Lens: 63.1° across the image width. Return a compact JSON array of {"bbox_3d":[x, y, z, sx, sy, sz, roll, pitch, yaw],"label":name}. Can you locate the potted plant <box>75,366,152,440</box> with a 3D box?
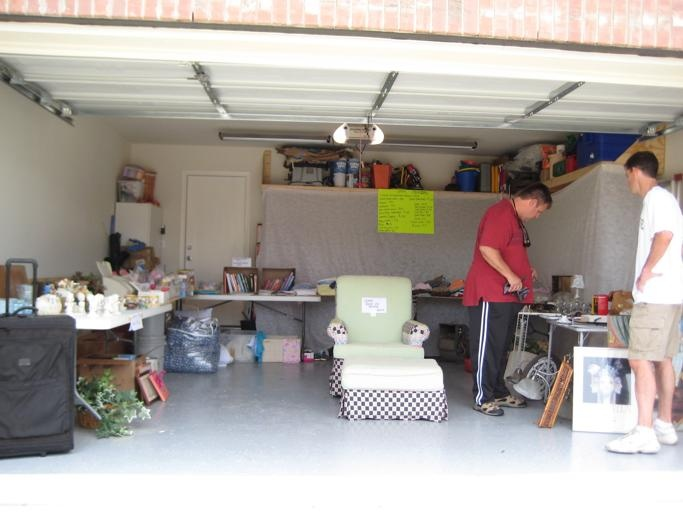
[{"bbox_3d":[-1.761,1.085,4.261,0.498,0.520,0.580,2,0,-25],"label":"potted plant"}]

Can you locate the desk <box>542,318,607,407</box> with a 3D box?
[{"bbox_3d":[2.248,0.913,5.024,0.716,0.600,0.682,1,0,-4],"label":"desk"}]

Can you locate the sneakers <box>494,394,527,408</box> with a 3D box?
[{"bbox_3d":[1.535,1.318,5.064,0.342,0.133,0.117,0,-3,6],"label":"sneakers"}]

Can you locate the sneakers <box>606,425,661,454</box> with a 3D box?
[{"bbox_3d":[2.068,1.297,3.967,0.473,0.197,0.150,1,-5,2],"label":"sneakers"}]

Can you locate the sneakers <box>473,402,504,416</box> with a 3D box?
[{"bbox_3d":[1.275,1.316,4.833,0.096,0.098,0.241,4,-7,-41],"label":"sneakers"}]

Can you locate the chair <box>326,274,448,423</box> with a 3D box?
[{"bbox_3d":[0.381,0.783,5.191,1.013,1.119,1.260,2,0,-1],"label":"chair"}]

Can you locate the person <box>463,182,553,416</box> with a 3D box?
[{"bbox_3d":[1.411,0.358,4.885,0.663,1.669,0.395,2,0,9],"label":"person"}]

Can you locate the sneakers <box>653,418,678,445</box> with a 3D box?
[{"bbox_3d":[2.395,1.295,4.100,0.123,0.091,0.227,-2,-2,3],"label":"sneakers"}]

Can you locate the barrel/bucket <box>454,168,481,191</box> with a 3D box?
[{"bbox_3d":[1.875,-1.118,8.254,0.360,0.252,0.314,1,-2,-10],"label":"barrel/bucket"}]
